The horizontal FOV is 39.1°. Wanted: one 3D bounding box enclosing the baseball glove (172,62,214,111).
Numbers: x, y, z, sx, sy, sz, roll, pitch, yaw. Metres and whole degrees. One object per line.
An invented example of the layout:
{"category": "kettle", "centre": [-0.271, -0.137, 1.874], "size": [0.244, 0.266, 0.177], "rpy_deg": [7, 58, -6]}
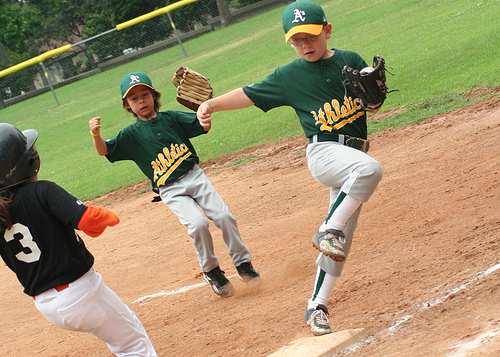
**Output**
{"category": "baseball glove", "centre": [-0.742, -1.110, 8.691], "size": [0.525, 0.578, 0.234], "rpy_deg": [-64, 9, -14]}

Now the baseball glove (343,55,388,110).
{"category": "baseball glove", "centre": [1.185, -1.037, 7.721], "size": [0.509, 0.523, 0.593], "rpy_deg": [-21, 23, -29]}

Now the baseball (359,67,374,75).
{"category": "baseball", "centre": [1.236, -1.152, 7.503], "size": [0.132, 0.032, 0.089], "rpy_deg": [-20, 25, 14]}
